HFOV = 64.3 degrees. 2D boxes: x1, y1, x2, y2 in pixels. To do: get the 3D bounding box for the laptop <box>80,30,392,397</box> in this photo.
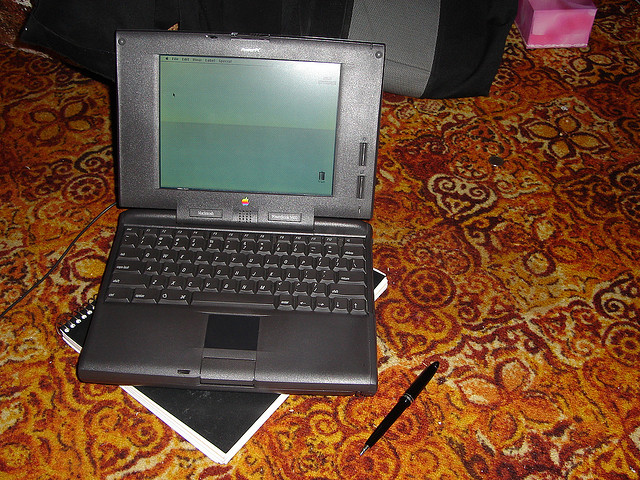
[{"bbox_3d":[-0.127,-0.011,1.033,0.590,0.438,0.598,4,64,-2],"label":"laptop"}]
